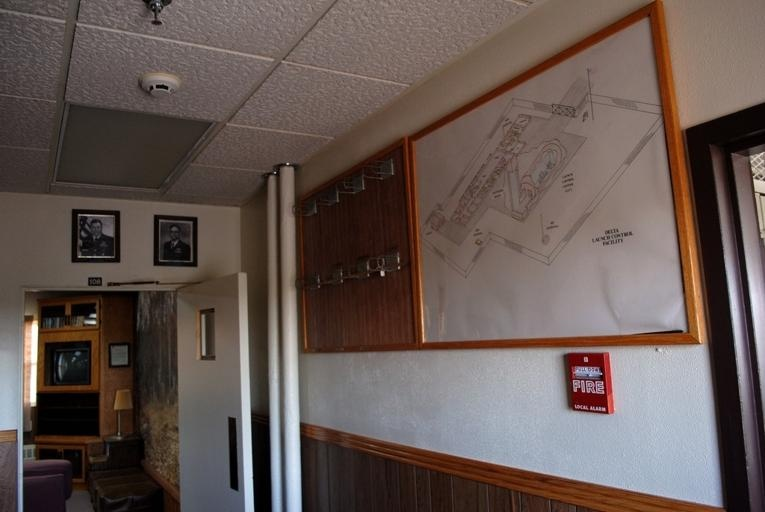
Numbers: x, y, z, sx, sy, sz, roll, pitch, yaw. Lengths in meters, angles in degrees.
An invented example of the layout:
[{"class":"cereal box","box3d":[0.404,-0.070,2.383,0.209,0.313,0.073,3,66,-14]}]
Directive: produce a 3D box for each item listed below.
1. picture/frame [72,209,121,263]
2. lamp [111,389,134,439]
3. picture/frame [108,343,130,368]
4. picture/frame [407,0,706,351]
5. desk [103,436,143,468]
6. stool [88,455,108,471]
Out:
[{"class":"picture/frame","box3d":[-2.461,-0.158,4.534,0.428,0.589,0.043,1,-6,-18]},{"class":"lamp","box3d":[-4.050,2.446,8.311,0.252,0.717,0.596,1,-11,-25]},{"class":"picture/frame","box3d":[-4.256,1.602,8.559,0.393,0.472,0.063,-3,2,-37]},{"class":"picture/frame","box3d":[0.810,-0.371,2.383,0.055,1.210,1.453,2,-11,-35]},{"class":"desk","box3d":[-3.929,2.940,8.185,0.522,0.509,0.424,0,14,-24]},{"class":"stool","box3d":[-4.219,3.047,7.898,0.231,0.287,0.398,11,-19,-34]}]
